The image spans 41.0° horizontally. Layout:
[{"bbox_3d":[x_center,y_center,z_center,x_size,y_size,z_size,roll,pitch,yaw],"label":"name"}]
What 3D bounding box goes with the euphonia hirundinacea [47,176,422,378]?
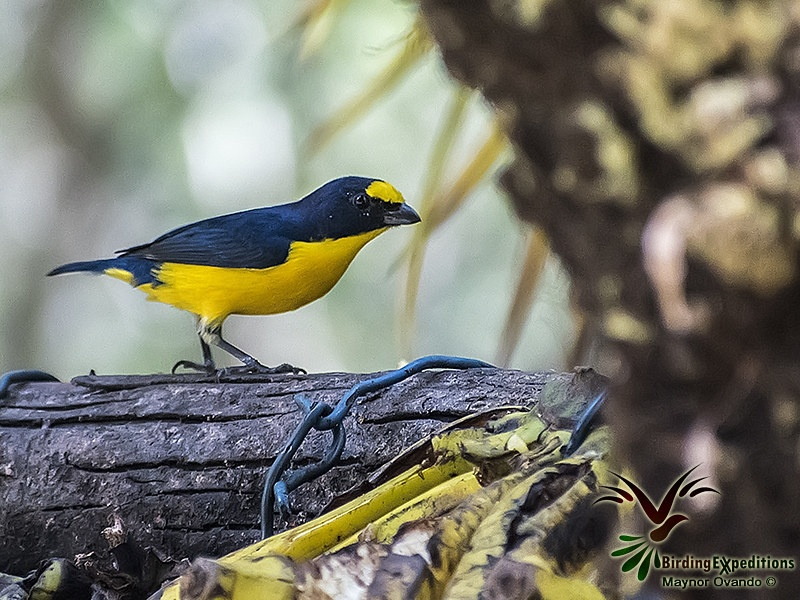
[{"bbox_3d":[-0.355,-0.059,2.220,0.749,0.393,0.270,2,-7,6],"label":"euphonia hirundinacea"}]
